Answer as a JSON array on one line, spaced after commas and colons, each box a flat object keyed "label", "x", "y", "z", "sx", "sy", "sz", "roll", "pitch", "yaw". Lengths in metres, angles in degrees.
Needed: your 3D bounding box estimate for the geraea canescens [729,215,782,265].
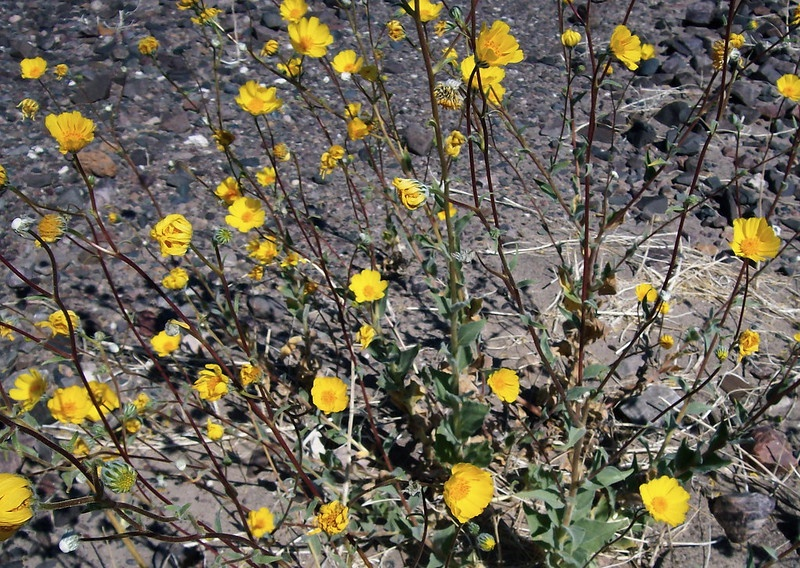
[{"label": "geraea canescens", "x": 1.746, "y": -0.181, "z": 3.722, "sx": 0.231, "sy": 0.248, "sz": 0.095, "roll": -16, "pitch": -14, "yaw": -3}]
